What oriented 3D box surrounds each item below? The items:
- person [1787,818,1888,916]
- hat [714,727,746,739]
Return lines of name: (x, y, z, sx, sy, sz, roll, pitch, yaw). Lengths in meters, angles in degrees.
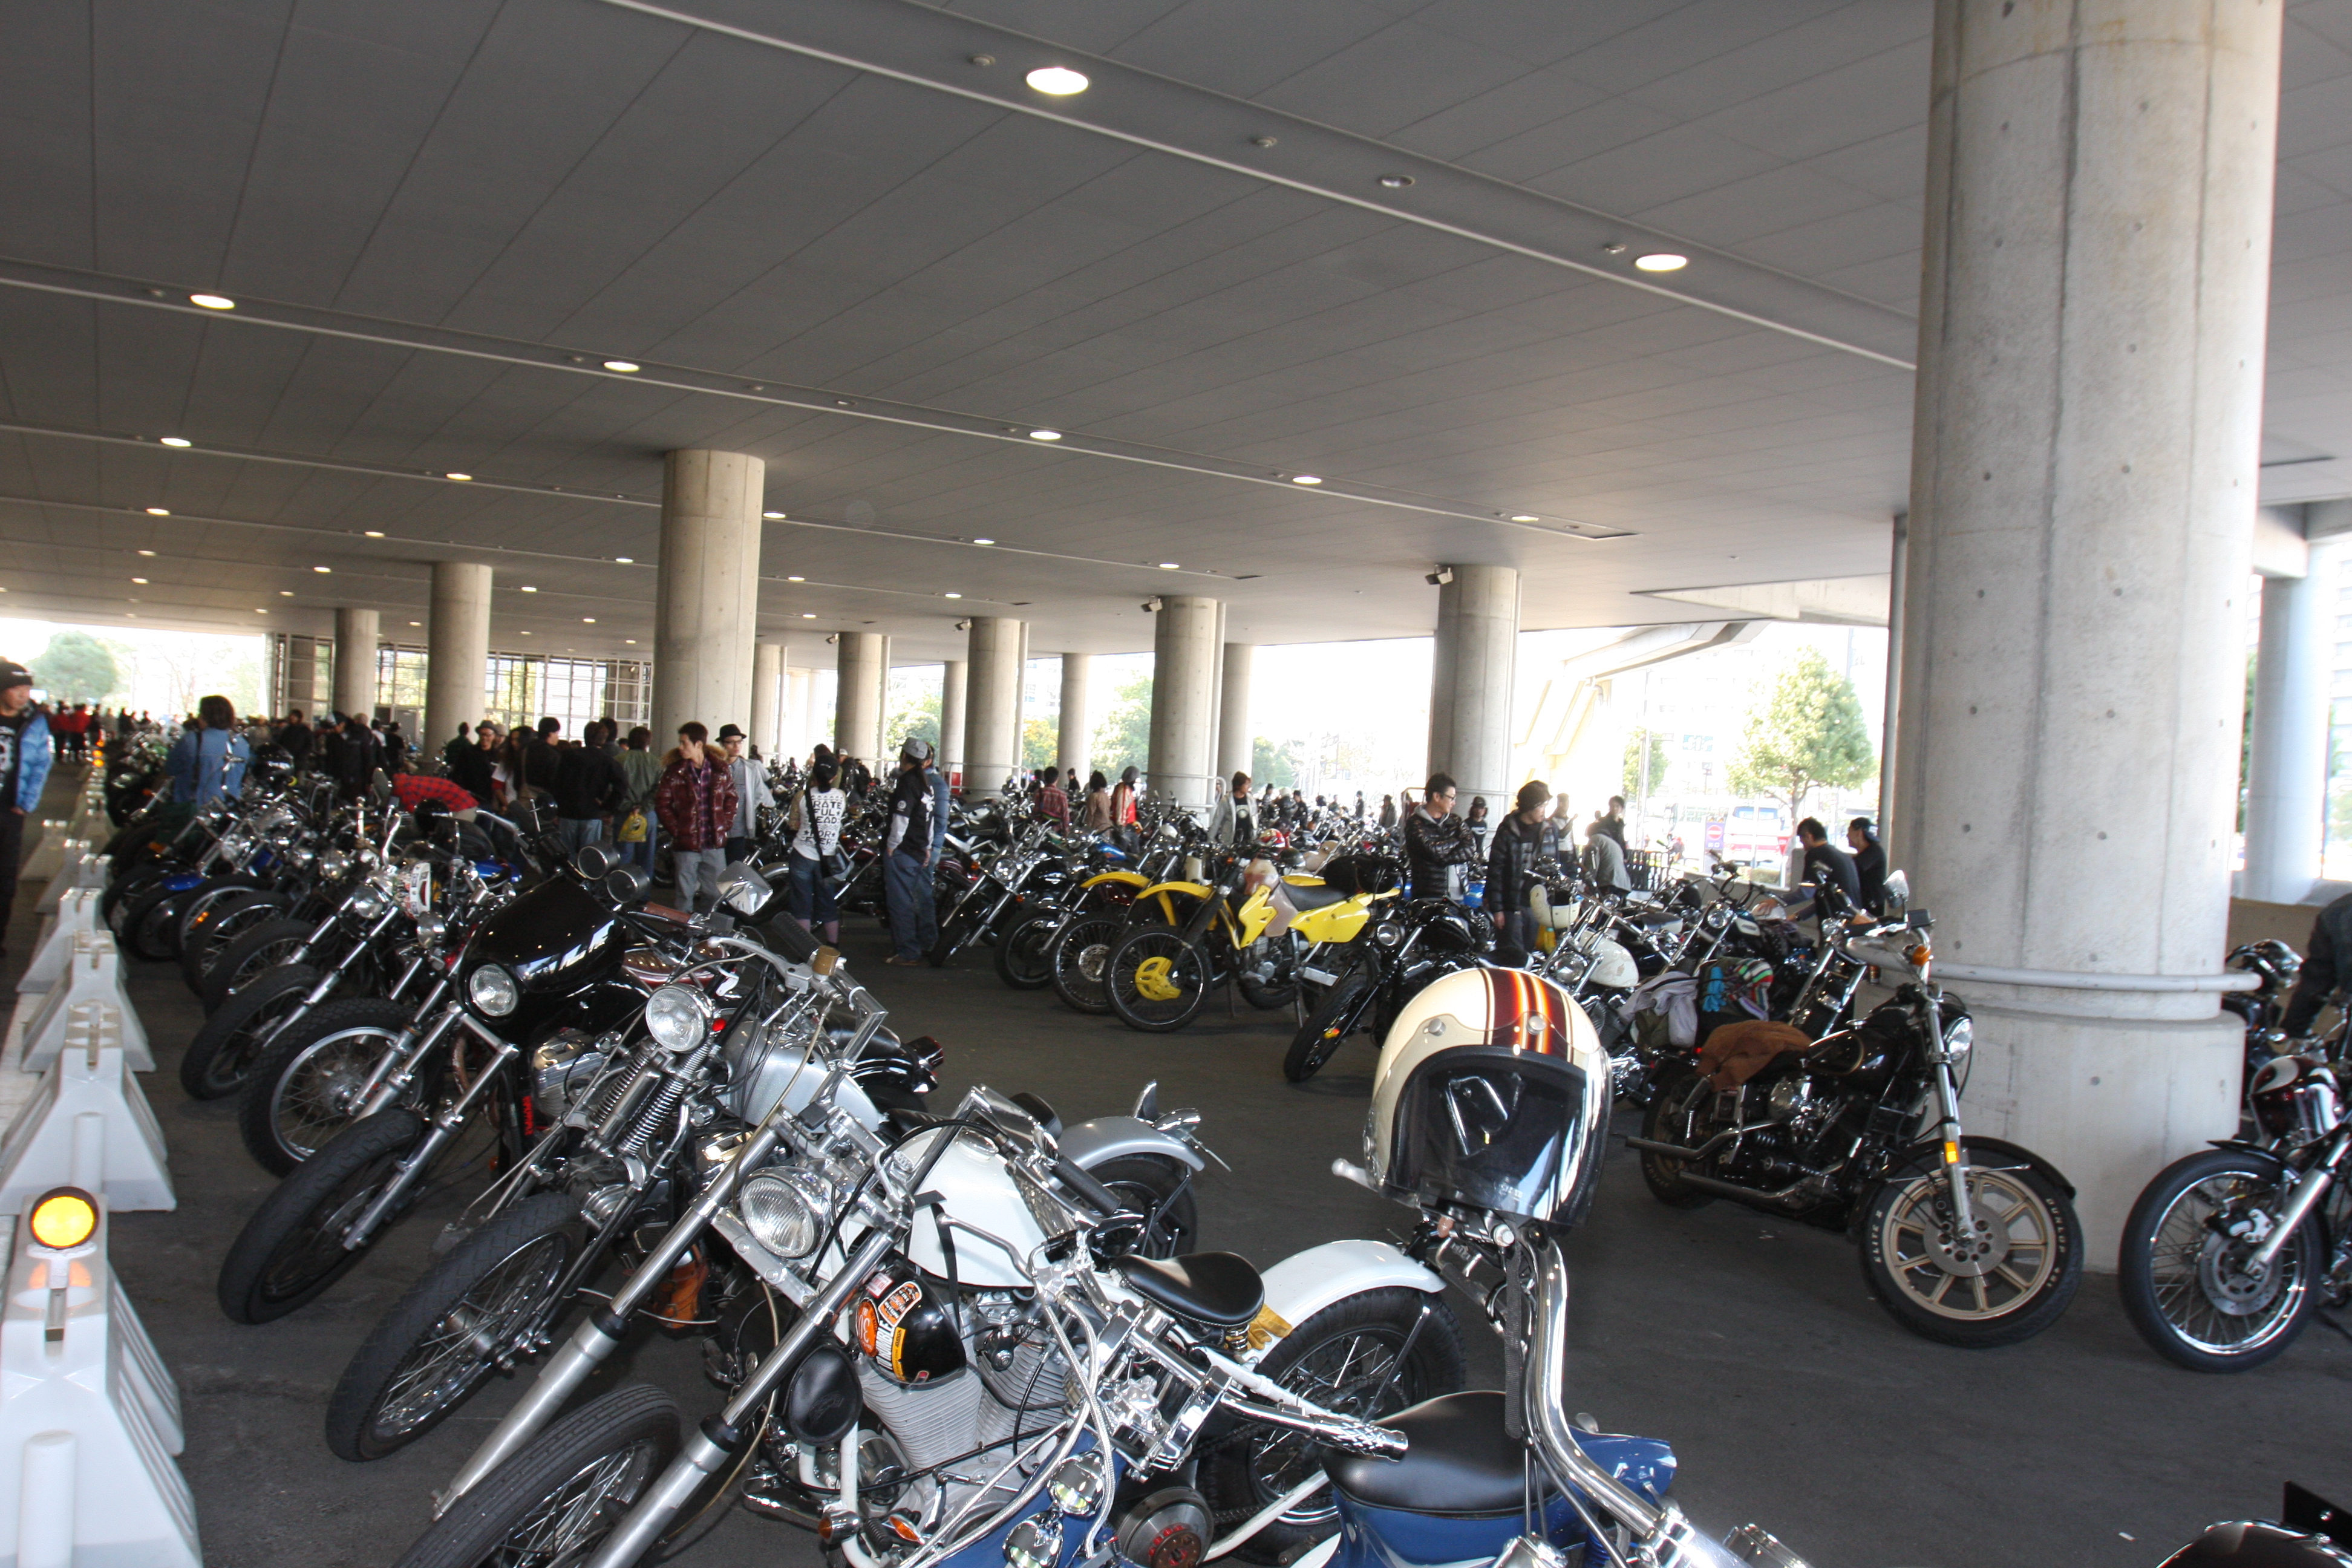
person: (5.103, 0.652, 11.049, 0.858, 0.556, 0.577, 18, 6, 0)
hat: (-4.031, -0.455, 12.935, 0.234, 0.084, 0.219, -4, -5, 40)
